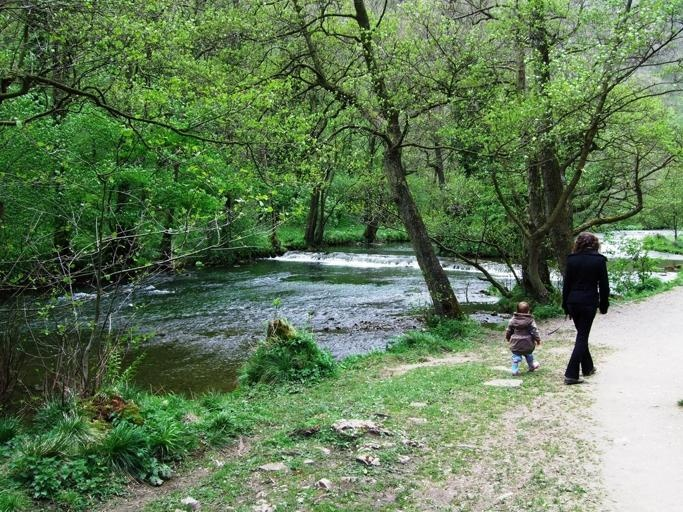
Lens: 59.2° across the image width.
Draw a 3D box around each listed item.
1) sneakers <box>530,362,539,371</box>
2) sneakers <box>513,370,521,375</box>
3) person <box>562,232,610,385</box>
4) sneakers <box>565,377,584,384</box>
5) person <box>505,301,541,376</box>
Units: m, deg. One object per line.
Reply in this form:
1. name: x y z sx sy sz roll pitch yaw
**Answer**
1. sneakers: 3.435 1.992 10.727 0.191 0.082 0.107 -37 16 5
2. sneakers: 3.105 2.066 10.640 0.068 0.069 0.198 0 3 38
3. person: 3.980 0.853 9.813 0.678 2.436 0.591 -2 8 19
4. sneakers: 3.823 2.047 9.842 0.327 0.107 0.106 -4 7 -13
5. person: 3.269 1.430 10.851 0.546 1.321 0.868 -3 7 16
